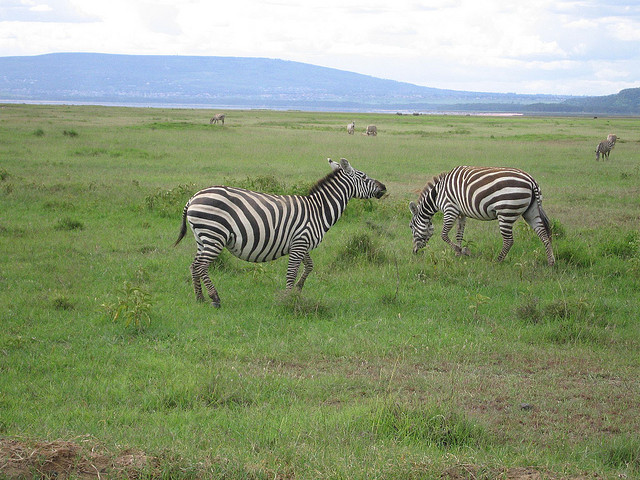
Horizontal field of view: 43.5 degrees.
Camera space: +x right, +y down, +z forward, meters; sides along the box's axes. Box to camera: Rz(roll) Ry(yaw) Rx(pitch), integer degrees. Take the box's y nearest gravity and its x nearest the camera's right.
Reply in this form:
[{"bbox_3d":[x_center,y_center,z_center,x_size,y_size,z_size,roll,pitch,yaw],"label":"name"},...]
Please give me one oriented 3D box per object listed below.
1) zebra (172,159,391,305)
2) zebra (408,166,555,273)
[{"bbox_3d":[-0.731,-0.161,16.464,4.344,3.272,1.353,2,9,-13],"label":"zebra"},{"bbox_3d":[3.662,-0.557,18.809,3.666,2.215,1.026,1,11,39],"label":"zebra"}]
